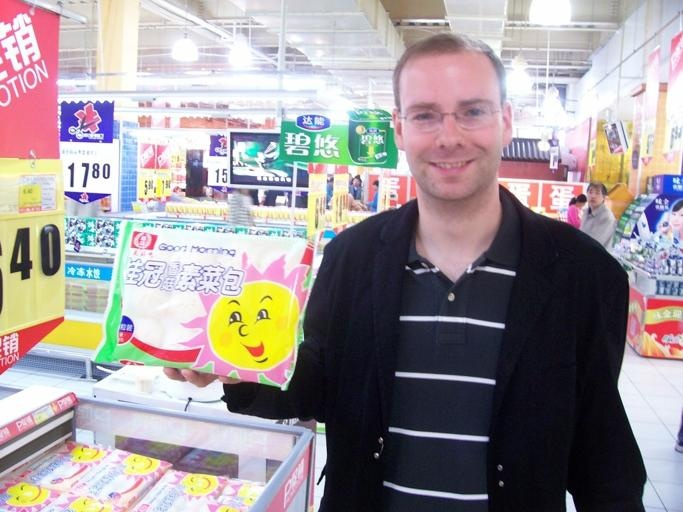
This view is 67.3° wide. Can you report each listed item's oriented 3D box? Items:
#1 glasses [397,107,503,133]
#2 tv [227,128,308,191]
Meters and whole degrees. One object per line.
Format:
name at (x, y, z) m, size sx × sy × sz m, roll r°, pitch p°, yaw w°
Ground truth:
glasses at (0.283, -0.350, 1.329) m, size 0.244 × 0.063 × 0.055 m, roll 2°, pitch 6°, yaw 9°
tv at (-0.772, -1.014, 5.429) m, size 0.746 × 0.532 × 0.101 m, roll 2°, pitch 0°, yaw 6°
